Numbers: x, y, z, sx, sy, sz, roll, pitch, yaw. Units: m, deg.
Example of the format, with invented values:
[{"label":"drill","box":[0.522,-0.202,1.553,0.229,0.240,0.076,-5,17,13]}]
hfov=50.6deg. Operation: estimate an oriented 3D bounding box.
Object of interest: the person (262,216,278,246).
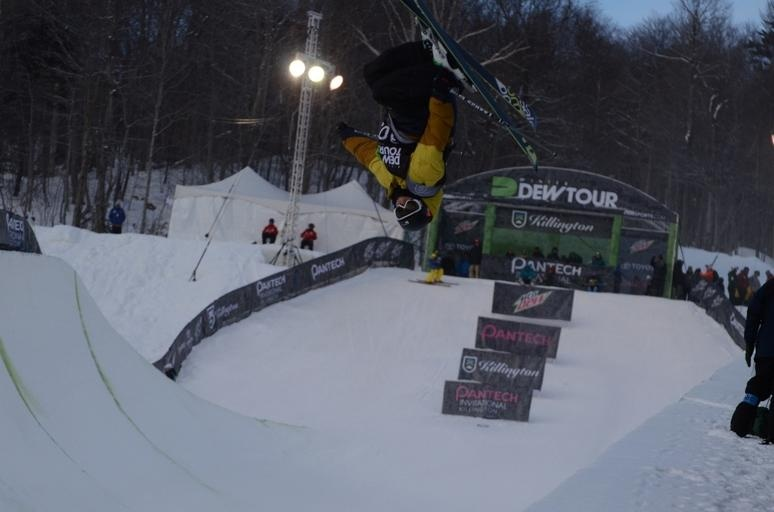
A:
[{"label":"person","box":[-4.356,-0.929,30.673,0.615,0.643,0.903,5,3,-8]}]

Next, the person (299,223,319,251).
[{"label":"person","box":[-2.879,-0.737,30.719,0.571,0.708,0.776,7,3,23]}]
